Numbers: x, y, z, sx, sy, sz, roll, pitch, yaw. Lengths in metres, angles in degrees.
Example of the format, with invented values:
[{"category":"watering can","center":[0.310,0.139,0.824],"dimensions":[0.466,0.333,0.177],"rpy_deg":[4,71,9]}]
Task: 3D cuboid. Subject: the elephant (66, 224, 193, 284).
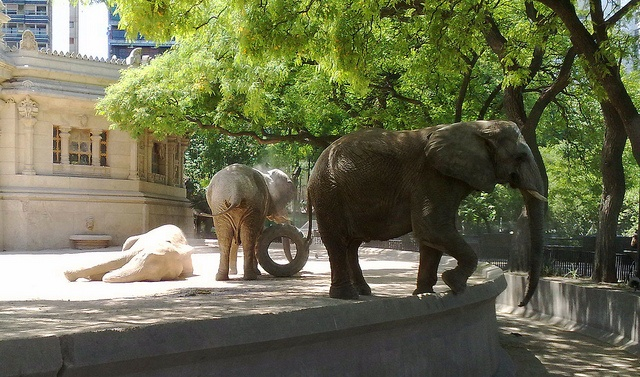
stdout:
[{"category":"elephant","center":[-3.781,1.570,13.852],"dimensions":[1.378,0.700,1.867],"rpy_deg":[0,7,14]}]
